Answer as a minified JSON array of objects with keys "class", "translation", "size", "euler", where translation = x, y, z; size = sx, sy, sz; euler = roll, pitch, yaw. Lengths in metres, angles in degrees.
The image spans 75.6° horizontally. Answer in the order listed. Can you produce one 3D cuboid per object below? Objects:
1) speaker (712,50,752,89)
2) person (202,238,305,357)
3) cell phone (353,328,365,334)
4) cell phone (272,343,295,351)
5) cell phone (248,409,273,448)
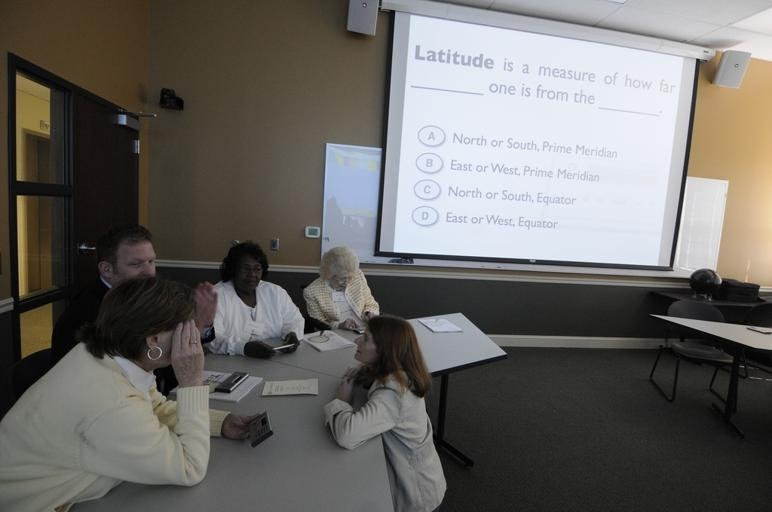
[{"class":"speaker","translation":[4.234,-2.315,6.156],"size":[0.342,0.444,0.236],"euler":[6,21,-4]},{"class":"person","translation":[-1.124,0.285,4.201],"size":[0.762,0.860,0.848],"euler":[2,2,43]},{"class":"cell phone","translation":[-0.232,0.642,4.219],"size":[0.088,0.023,0.095],"euler":[3,11,15]},{"class":"cell phone","translation":[-0.777,0.694,3.760],"size":[0.102,0.021,0.192],"euler":[-9,0,4]},{"class":"cell phone","translation":[-0.739,1.025,2.934],"size":[0.131,0.046,0.195],"euler":[-26,29,1]}]
